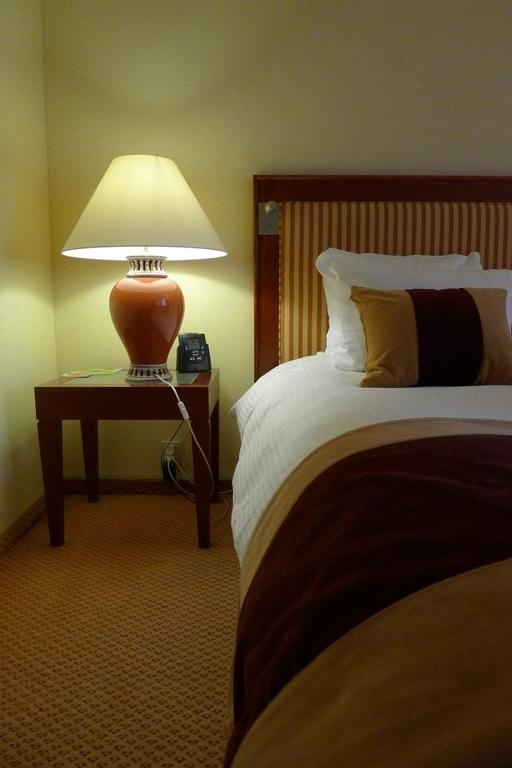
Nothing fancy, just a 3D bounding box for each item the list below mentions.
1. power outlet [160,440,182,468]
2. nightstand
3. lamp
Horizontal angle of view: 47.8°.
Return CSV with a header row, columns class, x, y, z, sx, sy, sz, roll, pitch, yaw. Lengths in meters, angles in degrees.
class,x,y,z,sx,sy,sz,roll,pitch,yaw
power outlet,-0.331,0.272,2.258,0.107,0.108,0.026,-1,-1,-12
nightstand,-0.410,0.225,1.972,0.521,0.564,0.560,-1,5,2
lamp,-0.343,-0.361,1.831,0.497,0.673,0.432,-3,9,-18
